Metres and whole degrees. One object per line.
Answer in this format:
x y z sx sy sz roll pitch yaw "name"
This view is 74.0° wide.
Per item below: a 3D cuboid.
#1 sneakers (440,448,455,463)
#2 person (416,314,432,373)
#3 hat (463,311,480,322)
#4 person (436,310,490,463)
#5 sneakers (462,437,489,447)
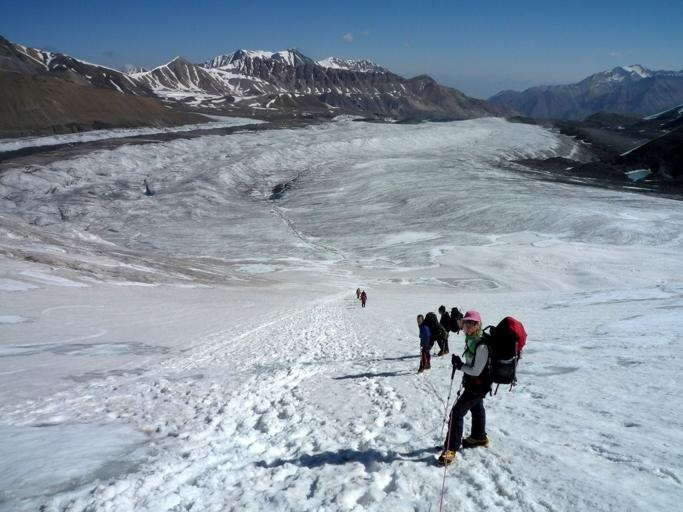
2.257 4.183 9.539 0.320 0.082 0.357 0 -3 25 "sneakers"
2.577 2.671 14.018 0.447 1.608 0.972 -3 13 10 "person"
2.756 1.257 9.539 0.317 0.276 0.504 0 11 16 "hat"
2.680 2.703 9.524 0.924 3.146 1.313 4 17 32 "person"
2.932 4.044 9.870 0.672 0.175 0.198 1 -12 4 "sneakers"
